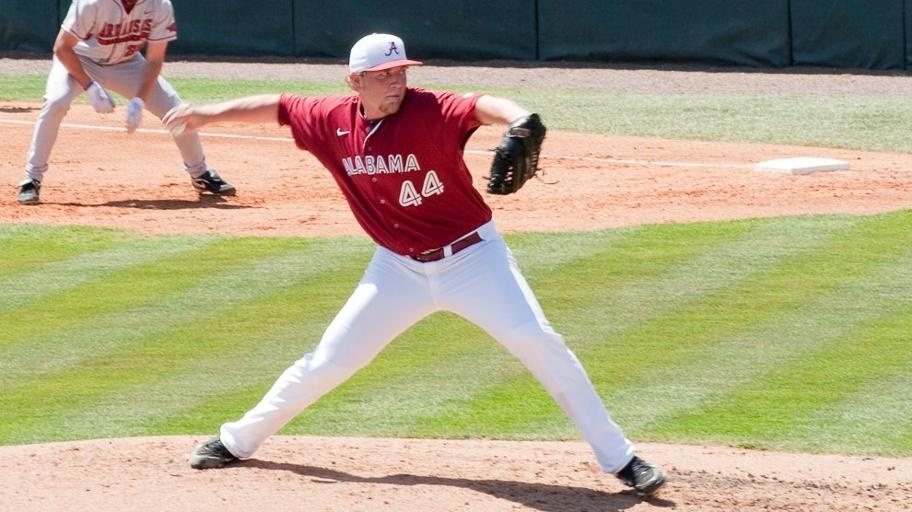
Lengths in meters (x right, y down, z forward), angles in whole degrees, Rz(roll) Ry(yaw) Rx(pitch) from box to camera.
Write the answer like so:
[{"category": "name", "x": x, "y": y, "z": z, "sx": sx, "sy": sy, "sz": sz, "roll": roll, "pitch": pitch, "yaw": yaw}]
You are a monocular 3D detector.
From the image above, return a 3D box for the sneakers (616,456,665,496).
[{"category": "sneakers", "x": 1.491, "y": 1.777, "z": 9.026, "sx": 0.572, "sy": 0.187, "sz": 0.221, "roll": 17, "pitch": -6, "yaw": 19}]

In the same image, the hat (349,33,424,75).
[{"category": "hat", "x": -0.676, "y": -1.619, "z": 9.012, "sx": 0.613, "sy": 0.194, "sz": 0.385, "roll": 5, "pitch": 9, "yaw": 31}]

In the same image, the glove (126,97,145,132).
[{"category": "glove", "x": -3.780, "y": -1.624, "z": 12.917, "sx": 0.227, "sy": 0.400, "sz": 0.435, "roll": -7, "pitch": 18, "yaw": -12}]

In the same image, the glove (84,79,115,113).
[{"category": "glove", "x": -4.237, "y": -1.845, "z": 13.063, "sx": 0.272, "sy": 0.385, "sz": 0.385, "roll": -5, "pitch": 18, "yaw": -8}]

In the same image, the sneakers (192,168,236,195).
[{"category": "sneakers", "x": -2.912, "y": -0.879, "z": 13.838, "sx": 0.815, "sy": 0.220, "sz": 0.213, "roll": 3, "pitch": 32, "yaw": 8}]

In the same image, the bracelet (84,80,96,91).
[{"category": "bracelet", "x": -4.325, "y": -1.969, "z": 12.947, "sx": 0.121, "sy": 0.119, "sz": 0.118, "roll": 26, "pitch": 24, "yaw": -24}]
